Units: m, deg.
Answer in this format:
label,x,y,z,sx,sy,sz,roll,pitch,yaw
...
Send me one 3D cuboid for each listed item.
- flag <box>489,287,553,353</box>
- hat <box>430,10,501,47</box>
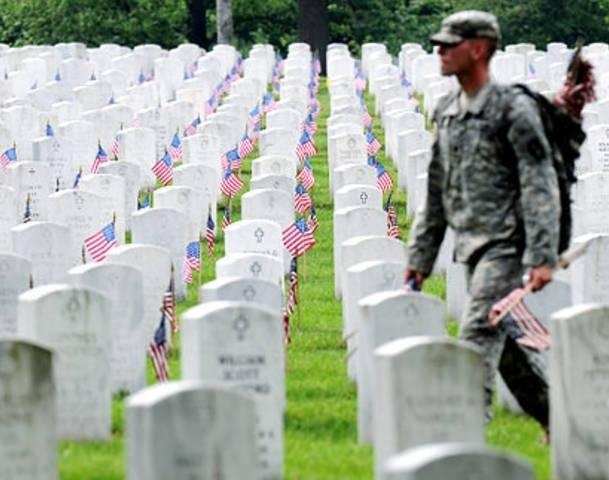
label,x,y,z,sx,sy,sz,roll,pitch,yaw
flag,2.647,1.024,25.672,0.689,0.773,0.290,-44,5,-27
hat,1.959,-2.596,25.601,0.658,0.278,0.446,-2,3,-10
